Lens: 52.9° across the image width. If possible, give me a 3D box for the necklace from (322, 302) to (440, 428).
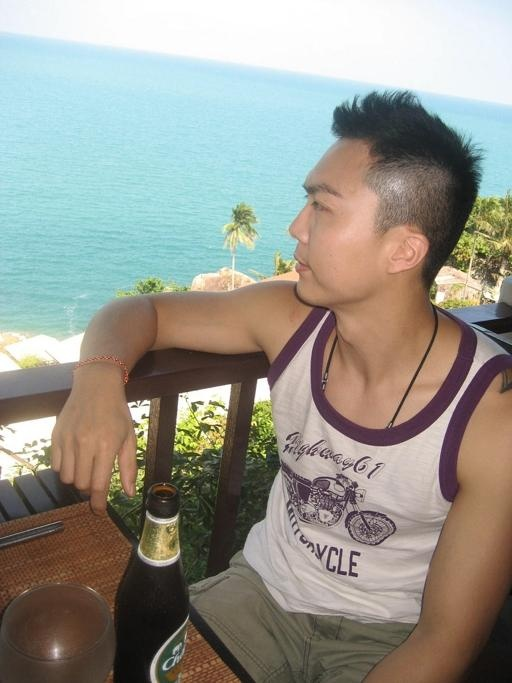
[{"bbox_3d":[0.246,0.079,1.019,0.178,0.288,0.051,13,-2,44],"label":"necklace"}]
